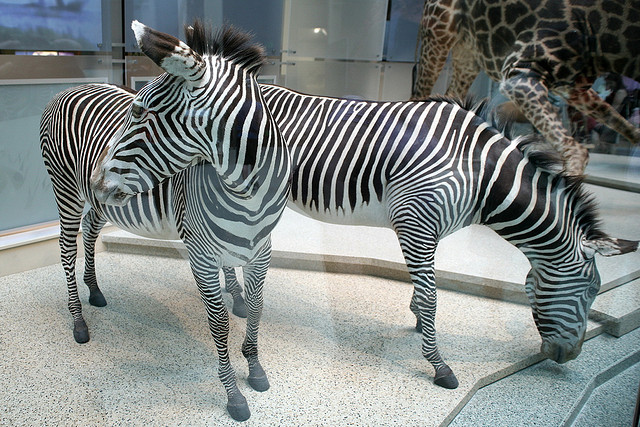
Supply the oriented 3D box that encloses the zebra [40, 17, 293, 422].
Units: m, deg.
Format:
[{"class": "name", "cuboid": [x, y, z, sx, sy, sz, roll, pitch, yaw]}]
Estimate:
[{"class": "zebra", "cuboid": [-0.486, -0.008, 1.290, 0.808, 1.032, 0.360, 11, 22, 14]}]
